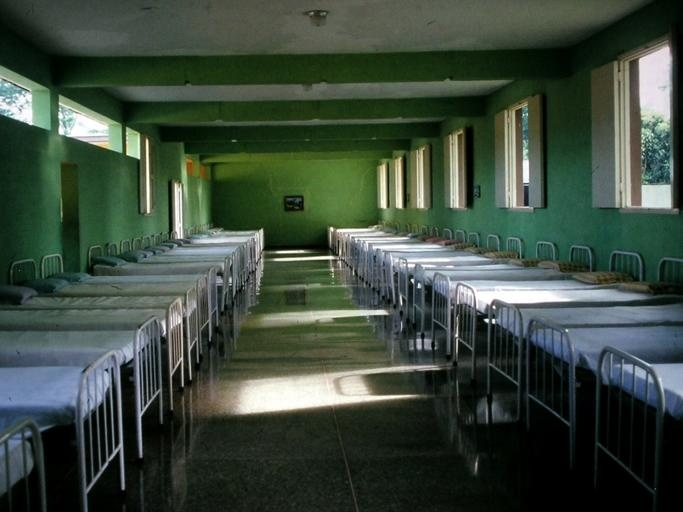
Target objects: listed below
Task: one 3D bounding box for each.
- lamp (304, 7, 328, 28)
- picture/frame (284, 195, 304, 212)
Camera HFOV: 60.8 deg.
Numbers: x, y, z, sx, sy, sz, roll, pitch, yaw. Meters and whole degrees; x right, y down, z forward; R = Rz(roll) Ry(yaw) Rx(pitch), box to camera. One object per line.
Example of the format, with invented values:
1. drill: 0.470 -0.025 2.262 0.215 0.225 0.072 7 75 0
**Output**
1. lamp: -0.251 -2.368 5.786 0.253 0.088 0.277 -2 5 -3
2. picture/frame: -1.692 -1.923 20.498 0.549 0.477 0.043 0 7 2
